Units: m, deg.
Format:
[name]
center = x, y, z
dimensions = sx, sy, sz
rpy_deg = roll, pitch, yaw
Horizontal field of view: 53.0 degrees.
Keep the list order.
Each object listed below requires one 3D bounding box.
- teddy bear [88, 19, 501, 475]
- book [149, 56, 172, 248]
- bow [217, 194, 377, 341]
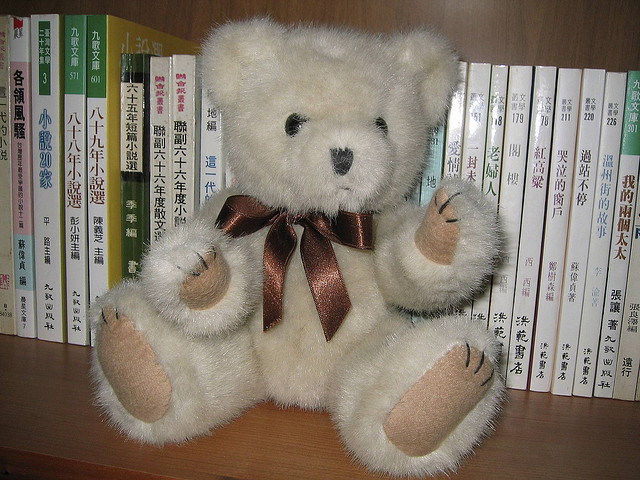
[teddy bear]
center = -0.005, 0.052, 1.076
dimensions = 0.677, 0.761, 0.561
rpy_deg = 4, 19, 5
[book]
center = -0.319, -0.188, 1.224
dimensions = 0.037, 0.310, 0.374
rpy_deg = 3, 11, -17
[bow]
center = -0.030, 0.045, 0.895
dimensions = 0.183, 0.034, 0.173
rpy_deg = 1, 77, 8
